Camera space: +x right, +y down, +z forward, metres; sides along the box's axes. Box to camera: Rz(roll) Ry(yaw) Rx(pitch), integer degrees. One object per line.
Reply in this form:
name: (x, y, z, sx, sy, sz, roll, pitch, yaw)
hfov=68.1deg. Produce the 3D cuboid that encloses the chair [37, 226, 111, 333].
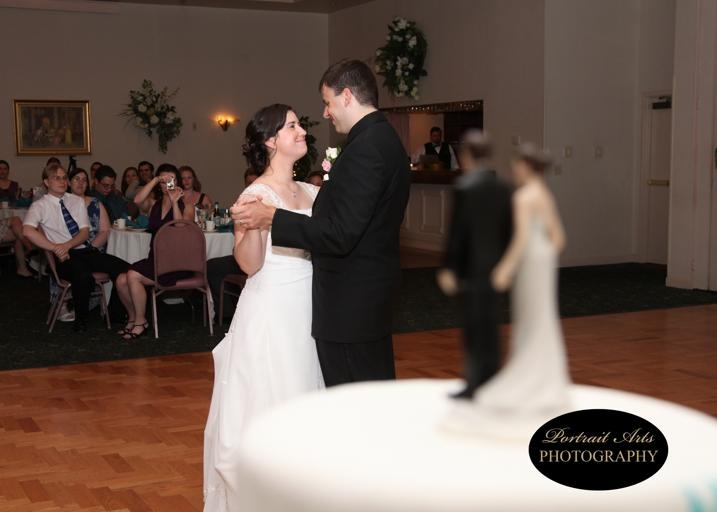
chair: (-3.207, 0.481, 6.174, 0.728, 1.103, 0.632, -6, -28, -21)

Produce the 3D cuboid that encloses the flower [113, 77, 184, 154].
flower: (-4.720, -3.223, 12.101, 1.201, 1.654, 0.333, -4, 9, -21)

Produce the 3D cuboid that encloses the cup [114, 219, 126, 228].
cup: (-2.976, -0.406, 6.568, 0.155, 0.153, 0.106, -1, -2, 15)

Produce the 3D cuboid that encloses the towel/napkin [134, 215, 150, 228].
towel/napkin: (-2.709, -0.433, 6.562, 0.128, 0.134, 0.163, 1, -1, -9)

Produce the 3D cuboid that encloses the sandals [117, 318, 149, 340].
sandals: (-2.386, 0.772, 5.586, 0.183, 0.094, 0.253, 5, 15, 17)

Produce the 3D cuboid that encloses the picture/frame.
picture/frame: (-6.856, -2.903, 11.643, 1.212, 1.076, 0.127, -2, 6, -21)

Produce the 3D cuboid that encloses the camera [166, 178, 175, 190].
camera: (-2.121, -0.823, 5.947, 0.079, 0.117, 0.038, 2, 1, -7)

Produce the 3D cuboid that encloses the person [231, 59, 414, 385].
person: (-0.094, -0.006, 2.000, 0.564, 1.027, 0.262, 1, 9, 10)

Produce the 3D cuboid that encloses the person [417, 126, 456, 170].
person: (1.732, -2.338, 11.354, 0.782, 0.899, 1.432, 2, 9, 16)
